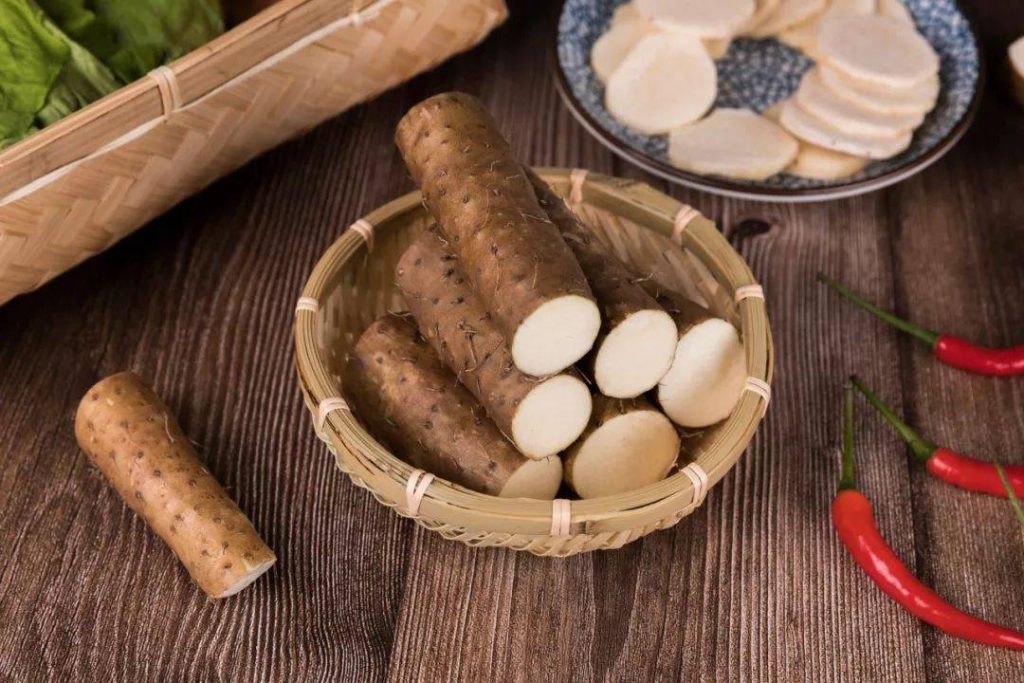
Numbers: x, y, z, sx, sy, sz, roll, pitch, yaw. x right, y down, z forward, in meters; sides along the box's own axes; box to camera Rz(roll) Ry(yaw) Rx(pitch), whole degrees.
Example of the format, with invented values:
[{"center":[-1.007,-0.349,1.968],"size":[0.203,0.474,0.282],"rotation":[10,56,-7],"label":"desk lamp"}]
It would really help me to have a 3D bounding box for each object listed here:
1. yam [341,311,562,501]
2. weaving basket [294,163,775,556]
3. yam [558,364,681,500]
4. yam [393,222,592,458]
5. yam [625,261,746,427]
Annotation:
[{"center":[-0.132,0.121,1.910],"size":[0.206,0.171,0.445],"rotation":[-46,73,20],"label":"yam"},{"center":[0.056,0.081,1.788],"size":[0.685,0.220,0.737],"rotation":[-21,58,-16],"label":"weaving basket"},{"center":[0.178,0.151,1.742],"size":[0.171,0.159,0.185],"rotation":[-5,83,5],"label":"yam"},{"center":[-0.022,-0.021,1.850],"size":[0.181,0.396,0.158],"rotation":[-30,107,-27],"label":"yam"},{"center":[0.284,0.003,1.867],"size":[0.264,0.070,0.156],"rotation":[45,103,2],"label":"yam"}]
